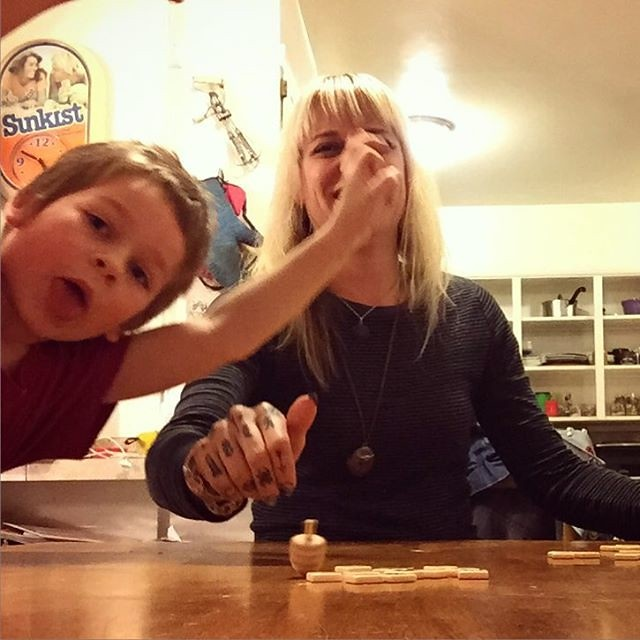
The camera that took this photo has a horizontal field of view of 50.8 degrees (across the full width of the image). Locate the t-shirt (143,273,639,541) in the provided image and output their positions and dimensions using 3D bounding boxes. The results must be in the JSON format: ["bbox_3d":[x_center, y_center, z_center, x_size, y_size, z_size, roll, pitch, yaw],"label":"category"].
[{"bbox_3d":[0.134,0.160,1.068,0.805,0.336,0.409,0,-8,-14],"label":"t-shirt"}]

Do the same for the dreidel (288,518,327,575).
[{"bbox_3d":[-0.013,0.236,0.704,0.058,0.064,0.051,2,-13,-5],"label":"dreidel"}]
